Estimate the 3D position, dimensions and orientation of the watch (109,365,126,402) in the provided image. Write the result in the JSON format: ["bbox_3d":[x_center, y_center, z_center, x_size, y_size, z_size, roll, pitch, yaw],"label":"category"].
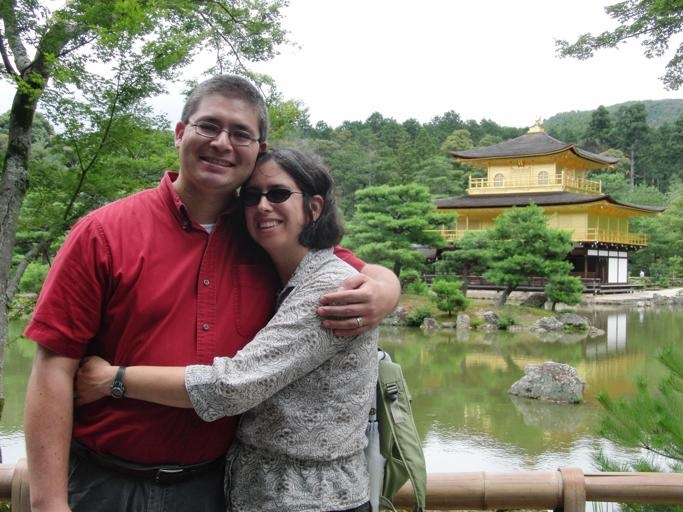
[{"bbox_3d":[-0.827,0.483,2.263,0.066,0.104,0.103,15,25,-23],"label":"watch"}]

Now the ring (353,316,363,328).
[{"bbox_3d":[0.065,0.248,2.283,0.027,0.038,0.038,0,4,-17],"label":"ring"}]
